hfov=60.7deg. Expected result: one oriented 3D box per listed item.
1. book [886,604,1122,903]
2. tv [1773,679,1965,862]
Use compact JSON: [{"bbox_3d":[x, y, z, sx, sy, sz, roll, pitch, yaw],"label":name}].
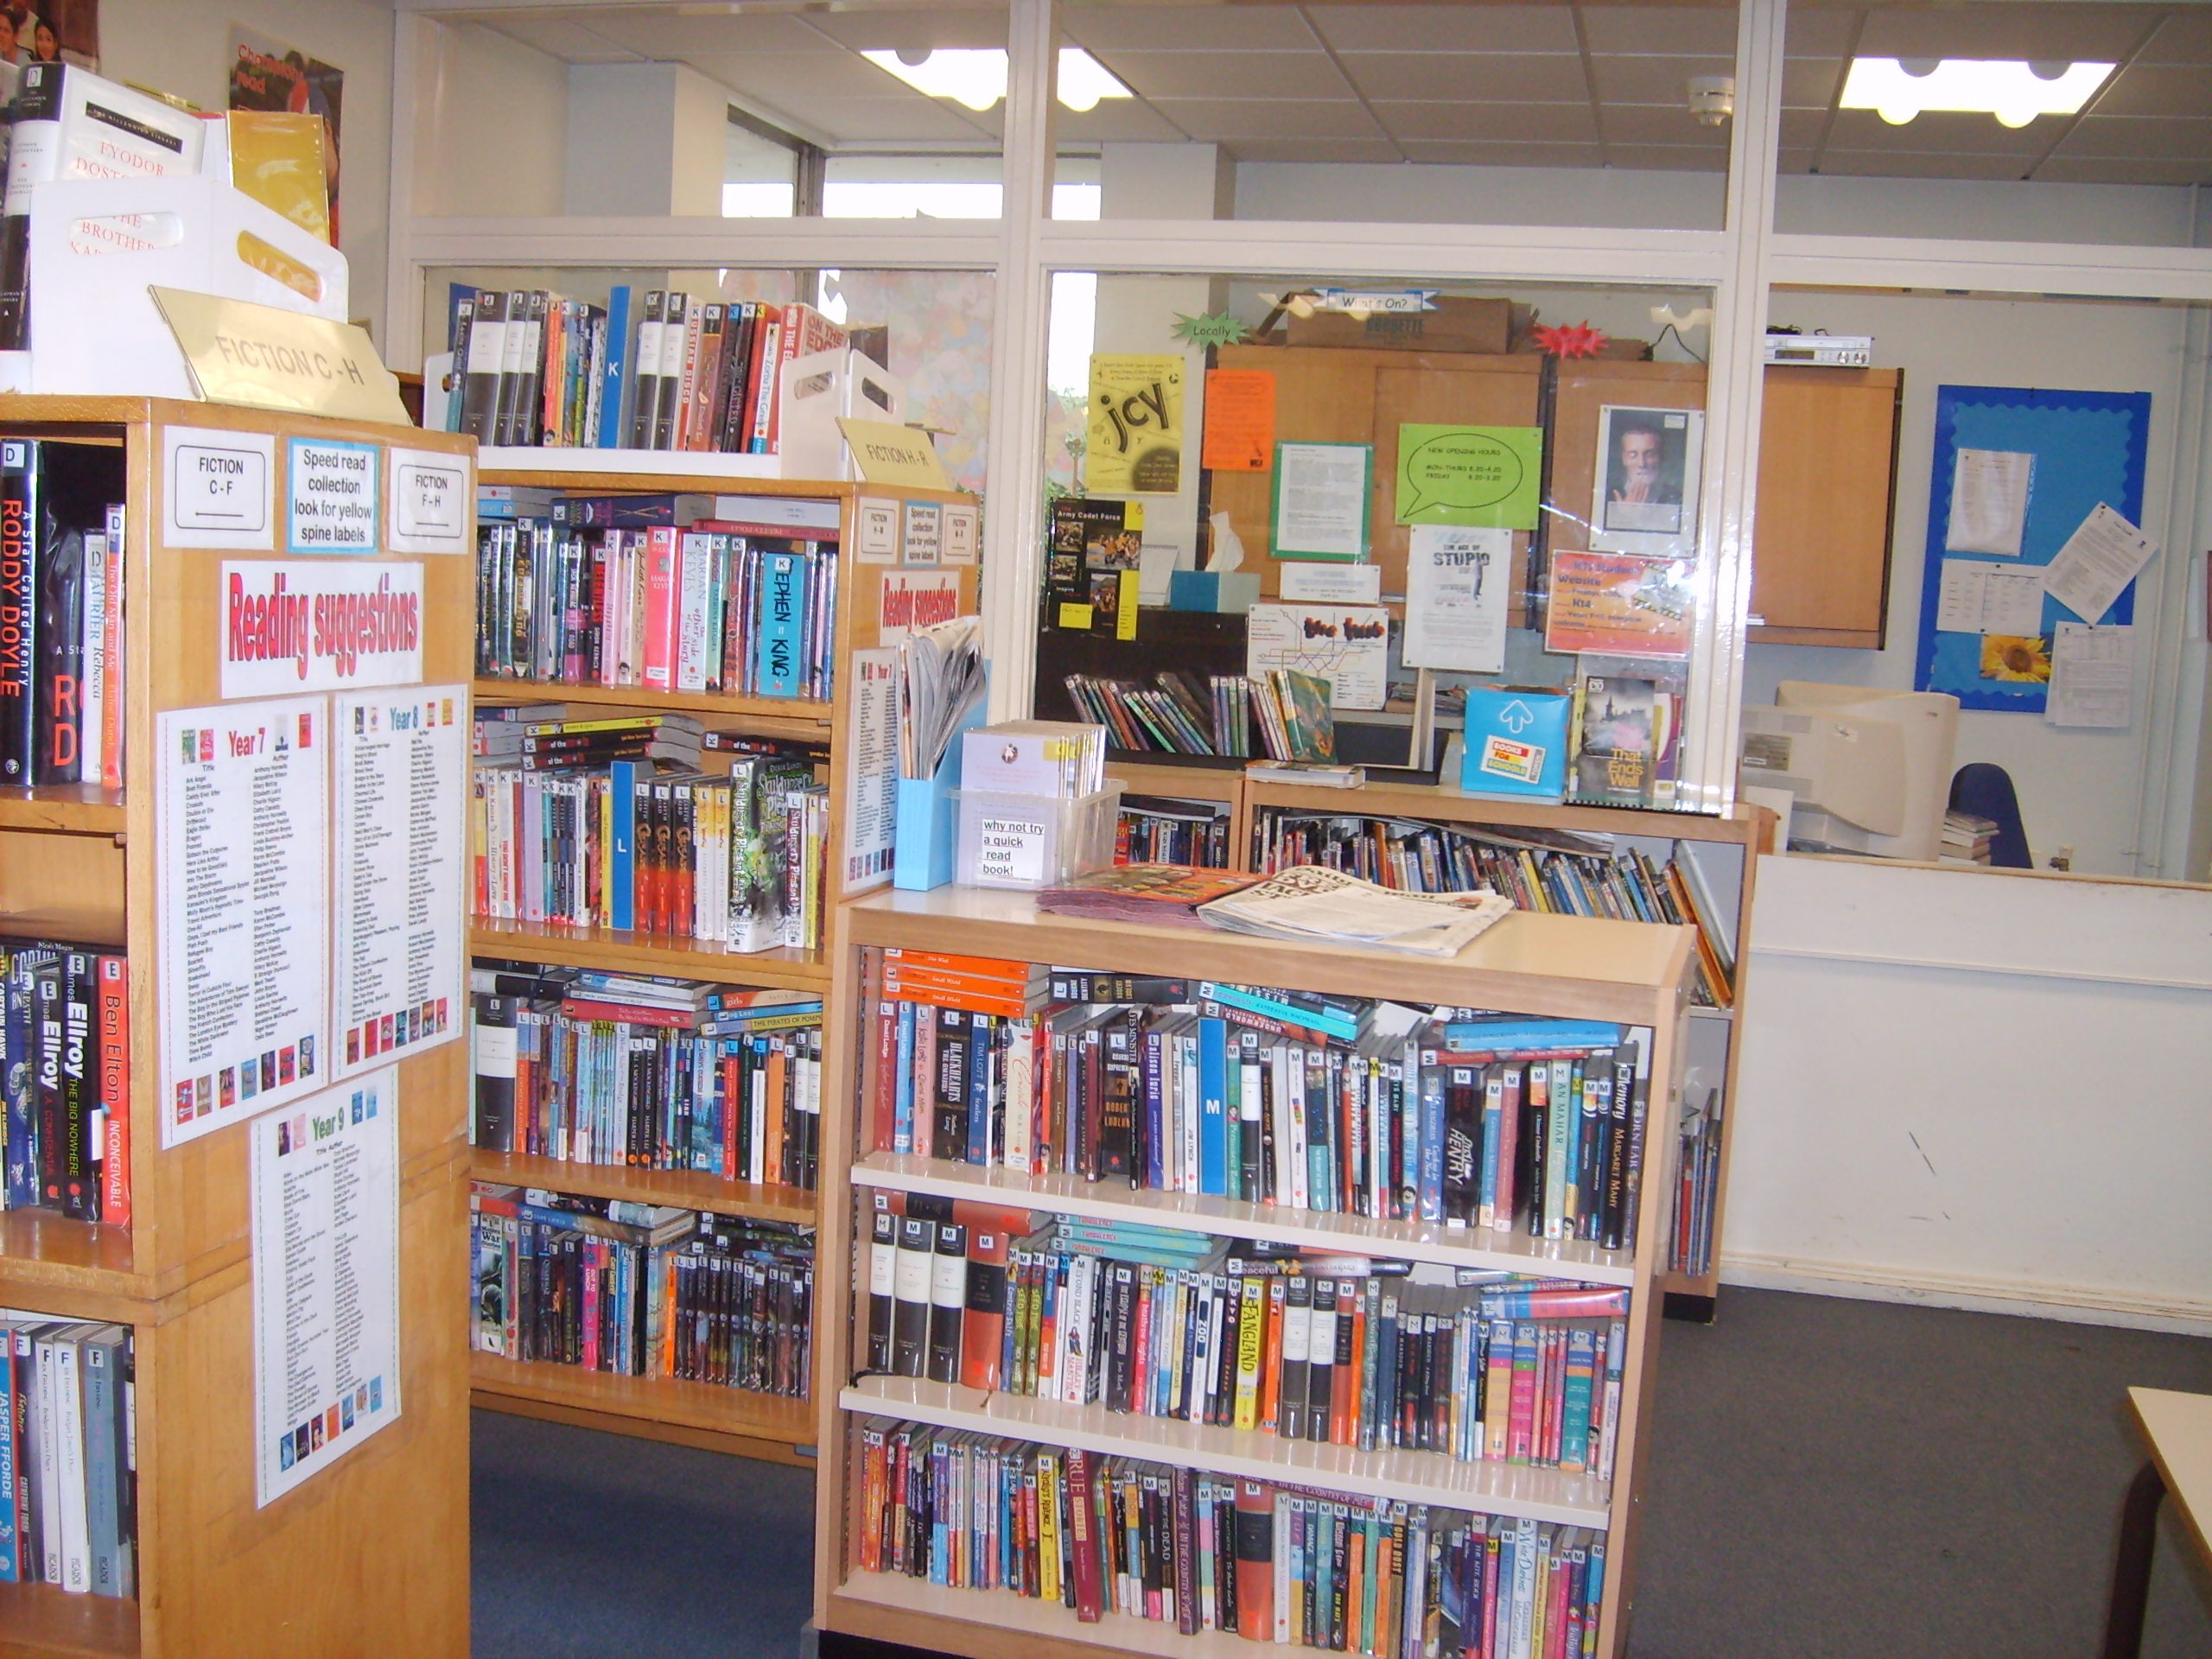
[{"bbox_3d":[-0.159,-0.142,3.577,0.407,0.547,0.562,1,7,12],"label":"book"},{"bbox_3d":[1.975,-0.168,4.818,0.392,0.378,0.204,6,12,27],"label":"tv"}]
